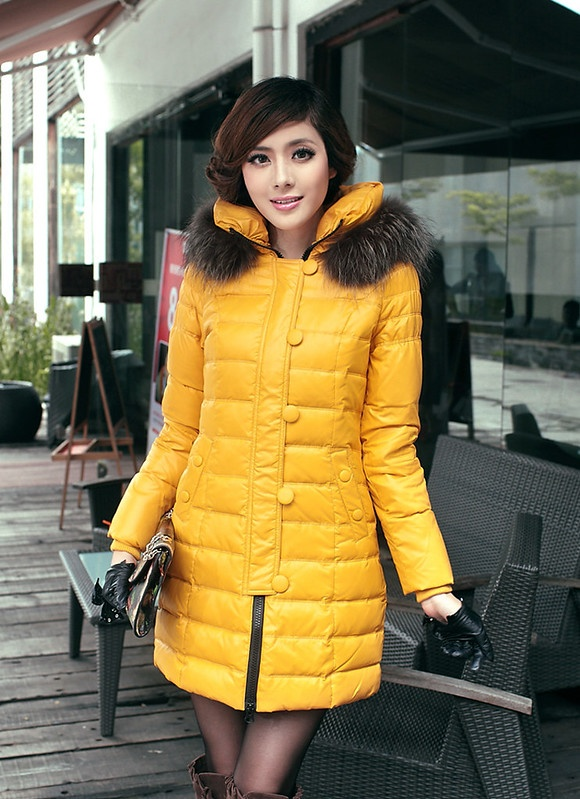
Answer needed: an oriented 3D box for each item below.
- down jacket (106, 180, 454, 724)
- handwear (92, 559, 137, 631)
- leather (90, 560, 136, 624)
[{"bbox_3d":[-0.018,0.046,1.054,0.503,0.744,0.262,1,4,12],"label":"down jacket"},{"bbox_3d":[-0.239,0.280,1.002,0.045,0.099,0.077,9,-3,-11],"label":"handwear"},{"bbox_3d":[-0.240,0.273,0.998,0.072,0.086,0.034,-26,-40,12],"label":"leather"}]
